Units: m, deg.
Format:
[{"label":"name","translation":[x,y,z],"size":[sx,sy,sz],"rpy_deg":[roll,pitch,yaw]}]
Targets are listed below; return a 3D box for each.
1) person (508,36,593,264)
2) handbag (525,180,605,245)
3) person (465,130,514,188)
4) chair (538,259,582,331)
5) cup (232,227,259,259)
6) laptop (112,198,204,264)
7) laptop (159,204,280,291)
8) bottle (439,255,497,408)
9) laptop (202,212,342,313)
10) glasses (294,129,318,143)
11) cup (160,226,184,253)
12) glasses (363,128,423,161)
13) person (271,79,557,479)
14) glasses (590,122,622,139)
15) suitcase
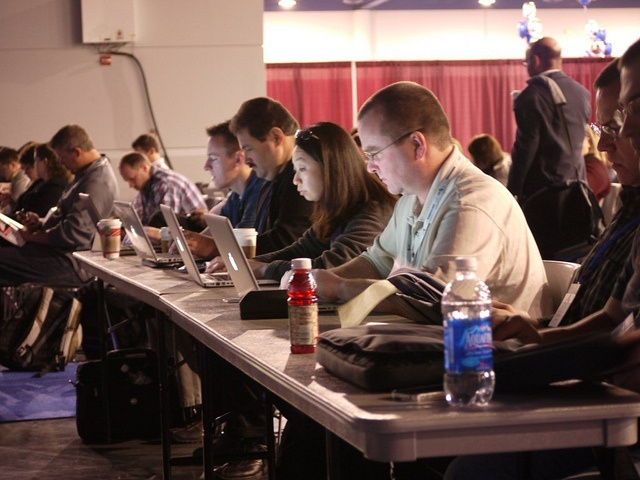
[{"label":"person","translation":[1.506,-0.387,4.004],"size":[0.487,1.798,0.460],"rpy_deg":[-14,19,-20]},{"label":"handbag","translation":[1.431,-0.132,3.748],"size":[0.360,0.410,0.423],"rpy_deg":[-18,6,-14]},{"label":"person","translation":[1.689,-0.860,6.289],"size":[0.642,0.314,0.820],"rpy_deg":[16,-3,17]},{"label":"chair","translation":[0.769,0.171,1.914],"size":[0.140,0.180,0.153],"rpy_deg":[-2,-1,5]},{"label":"cup","translation":[-0.303,0.014,2.585],"size":[0.126,0.176,0.128],"rpy_deg":[-1,1,0]},{"label":"laptop","translation":[-0.870,-0.020,3.285],"size":[0.360,0.299,0.407],"rpy_deg":[-1,5,-28]},{"label":"laptop","translation":[-0.466,0.049,2.551],"size":[0.374,0.227,0.438],"rpy_deg":[26,4,38]},{"label":"bottle","translation":[0.248,0.154,1.024],"size":[0.085,0.241,0.094],"rpy_deg":[0,5,0]},{"label":"laptop","translation":[-0.171,0.115,1.898],"size":[0.245,0.259,0.422],"rpy_deg":[-1,2,-15]},{"label":"glasses","translation":[-0.058,-0.412,2.496],"size":[0.064,0.026,0.061],"rpy_deg":[15,-1,-26]},{"label":"cup","translation":[-0.738,-0.001,3.056],"size":[0.140,0.162,0.141],"rpy_deg":[2,1,0]},{"label":"glasses","translation":[0.213,-0.295,1.918],"size":[0.107,0.031,0.103],"rpy_deg":[-30,2,4]},{"label":"person","translation":[0.439,-0.101,2.815],"size":[1.328,2.210,0.928],"rpy_deg":[2,-11,-1]},{"label":"glasses","translation":[0.840,-0.318,1.774],"size":[0.094,0.029,0.093],"rpy_deg":[6,5,-7]},{"label":"suitcase","translation":[-1.222,0.917,3.507],"size":[0.324,0.561,0.588],"rpy_deg":[2,-12,-29]}]
